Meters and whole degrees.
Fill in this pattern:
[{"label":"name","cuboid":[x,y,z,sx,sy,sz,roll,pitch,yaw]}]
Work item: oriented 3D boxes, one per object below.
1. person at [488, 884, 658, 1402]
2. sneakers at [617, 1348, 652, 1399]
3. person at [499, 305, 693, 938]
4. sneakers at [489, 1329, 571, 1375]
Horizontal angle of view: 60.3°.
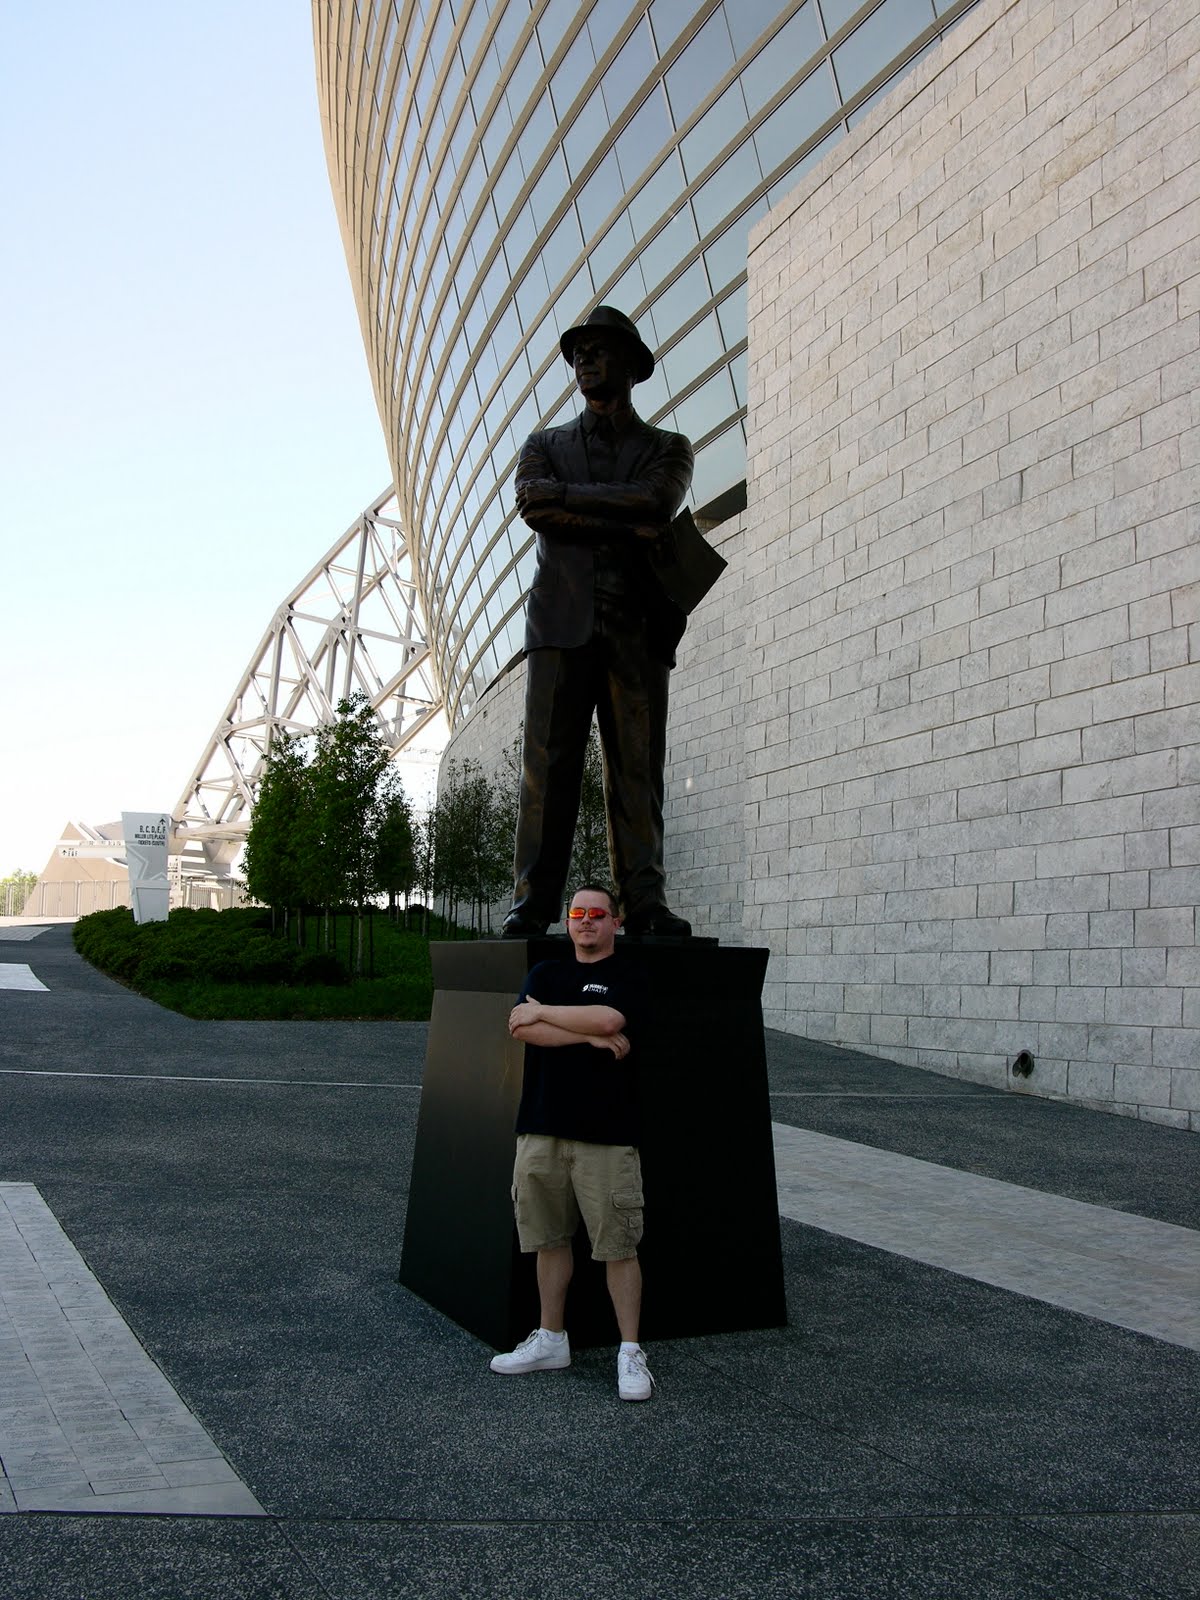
[{"label":"person","cuboid":[-0.051,0.925,3.063,0.506,1.400,0.273,-1,-5,24]},{"label":"sneakers","cuboid":[0.099,1.531,2.891,0.095,0.114,0.175,1,-4,4]},{"label":"person","cuboid":[0.006,-0.713,4.024,0.730,2.356,0.669,2,-4,-14]},{"label":"sneakers","cuboid":[-0.202,1.556,3.082,0.253,0.121,0.101,4,-7,-11]}]
